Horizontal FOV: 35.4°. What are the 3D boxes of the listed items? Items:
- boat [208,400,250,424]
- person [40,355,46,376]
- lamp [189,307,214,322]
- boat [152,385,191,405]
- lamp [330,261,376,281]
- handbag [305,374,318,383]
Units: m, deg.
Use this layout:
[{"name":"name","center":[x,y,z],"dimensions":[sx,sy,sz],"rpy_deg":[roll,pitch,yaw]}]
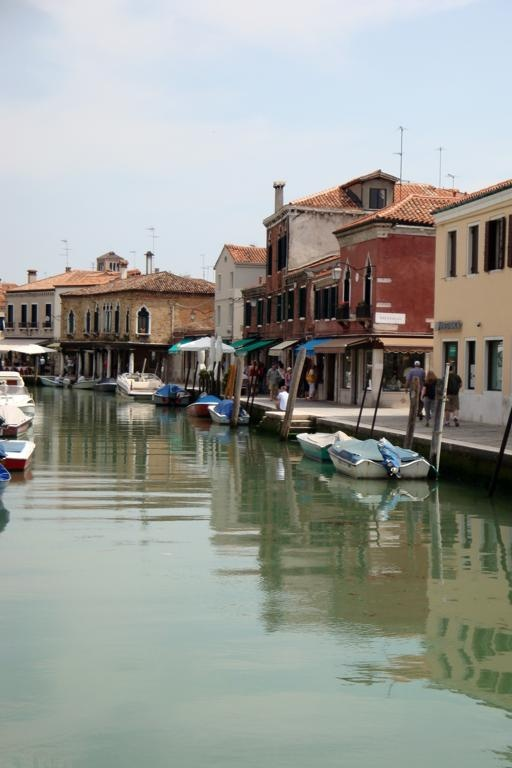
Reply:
[{"name":"boat","center":[-1.240,1.302,35.969],"dimensions":[0.988,1.034,2.516],"rpy_deg":[0,2,-24]},{"name":"person","center":[-22.543,-2.008,84.626],"dimensions":[0.692,1.896,0.557],"rpy_deg":[1,2,-13]},{"name":"lamp","center":[-5.558,-6.532,74.986],"dimensions":[2.929,1.591,0.768],"rpy_deg":[3,-6,-12]},{"name":"boat","center":[-5.155,0.706,48.831],"dimensions":[2.163,1.238,1.449],"rpy_deg":[1,2,-7]},{"name":"lamp","center":[4.266,-4.961,35.152],"dimensions":[0.336,1.052,3.999],"rpy_deg":[1,2,-15]},{"name":"handbag","center":[2.725,-0.348,40.538],"dimensions":[0.399,0.735,0.556],"rpy_deg":[-7,10,-24]}]
